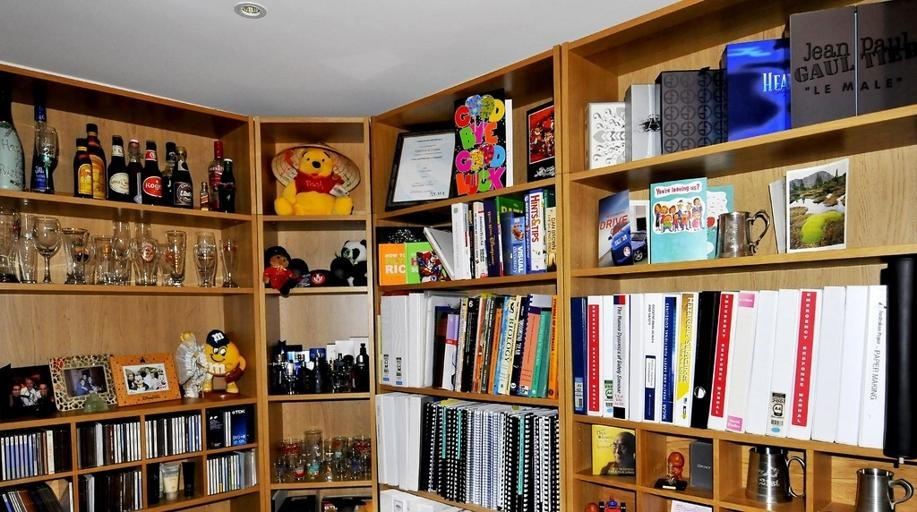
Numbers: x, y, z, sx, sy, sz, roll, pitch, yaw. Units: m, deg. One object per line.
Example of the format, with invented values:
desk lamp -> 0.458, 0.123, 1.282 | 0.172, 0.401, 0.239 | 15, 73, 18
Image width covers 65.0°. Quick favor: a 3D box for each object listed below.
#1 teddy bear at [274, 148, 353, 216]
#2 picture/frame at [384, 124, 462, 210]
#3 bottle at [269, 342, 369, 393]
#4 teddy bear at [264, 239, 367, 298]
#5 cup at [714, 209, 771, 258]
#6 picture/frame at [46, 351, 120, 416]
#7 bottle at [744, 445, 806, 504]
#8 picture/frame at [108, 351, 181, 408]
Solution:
teddy bear -> -0.854, -0.441, 4.311 | 0.445, 0.430, 0.304 | 3, 13, -14
picture/frame -> -0.190, -0.494, 4.129 | 0.553, 0.498, 0.055 | -5, -20, 28
bottle -> -0.791, 0.646, 4.392 | 0.581, 0.281, 0.349 | -2, -2, 1
teddy bear -> -0.839, 0.063, 4.257 | 0.589, 0.316, 0.224 | -1, -4, -14
cup -> 1.314, -0.104, 3.348 | 0.237, 0.221, 0.131 | -3, -4, 17
picture/frame -> -2.009, 0.693, 3.856 | 0.344, 0.327, 0.039 | 4, -25, -36
bottle -> 1.435, 0.992, 3.352 | 0.200, 0.231, 0.317 | 1, 1, -34
picture/frame -> -1.745, 0.693, 3.994 | 0.308, 0.268, 0.020 | 9, -34, -40
